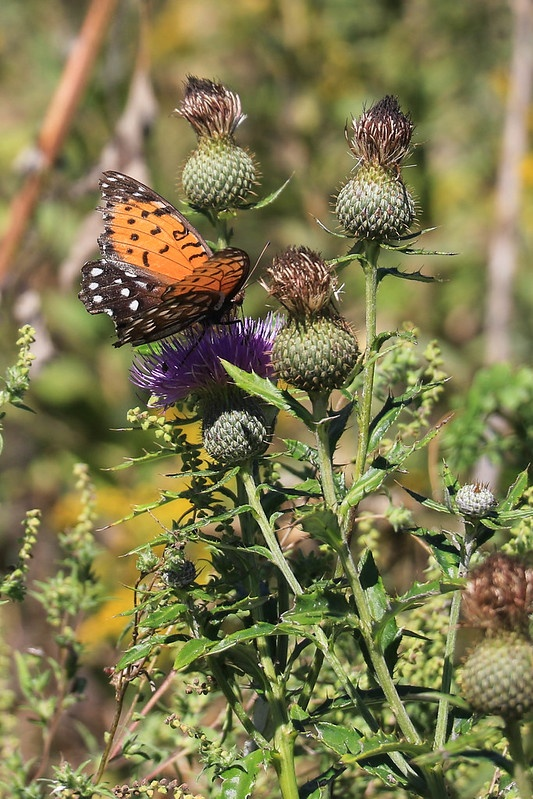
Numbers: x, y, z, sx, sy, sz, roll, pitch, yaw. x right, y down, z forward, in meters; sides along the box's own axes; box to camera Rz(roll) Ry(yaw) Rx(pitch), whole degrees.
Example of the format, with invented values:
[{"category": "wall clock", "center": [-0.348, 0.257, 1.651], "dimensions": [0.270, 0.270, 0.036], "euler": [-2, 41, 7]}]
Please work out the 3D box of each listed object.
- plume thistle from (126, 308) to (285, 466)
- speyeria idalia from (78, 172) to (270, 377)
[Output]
[{"category": "plume thistle", "center": [-0.126, -0.026, 2.212], "dimensions": [0.408, 0.223, 0.418], "euler": [-14, 43, 2]}, {"category": "speyeria idalia", "center": [-0.290, -0.357, 2.463], "dimensions": [0.563, 0.489, 0.749], "euler": [-17, 12, -11]}]
